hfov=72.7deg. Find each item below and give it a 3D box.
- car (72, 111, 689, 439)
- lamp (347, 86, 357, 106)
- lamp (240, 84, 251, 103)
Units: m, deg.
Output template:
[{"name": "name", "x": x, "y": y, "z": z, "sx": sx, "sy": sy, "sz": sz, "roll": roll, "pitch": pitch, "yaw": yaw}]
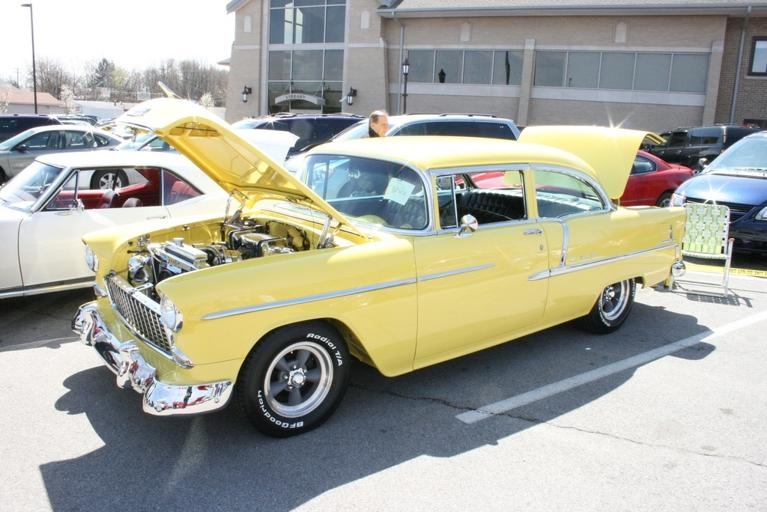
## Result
[{"name": "car", "x": 0.359, "y": -0.187, "z": 5.809, "sx": 6.263, "sy": 1.984, "sz": 2.694, "roll": -6, "pitch": 12, "yaw": -26}, {"name": "lamp", "x": -1.920, "y": -9.268, "z": 30.117, "sx": 0.568, "sy": 1.003, "sz": 0.579, "roll": -13, "pitch": 21, "yaw": -34}, {"name": "lamp", "x": -8.741, "y": -10.360, "z": 33.146, "sx": 0.579, "sy": 1.058, "sz": 0.518, "roll": -12, "pitch": 21, "yaw": -32}]
